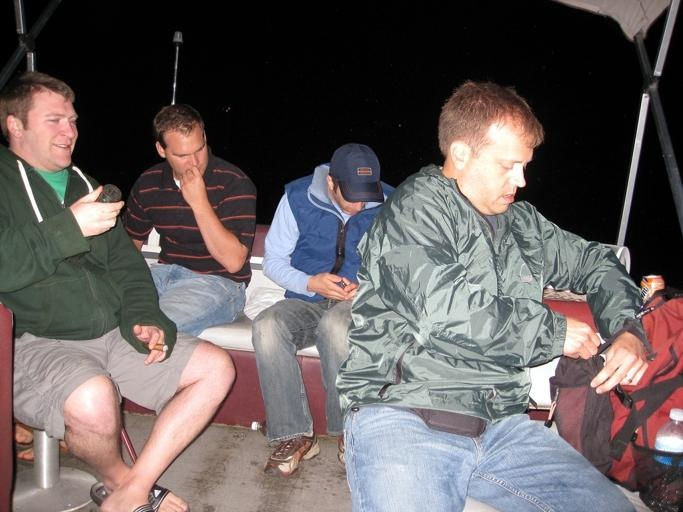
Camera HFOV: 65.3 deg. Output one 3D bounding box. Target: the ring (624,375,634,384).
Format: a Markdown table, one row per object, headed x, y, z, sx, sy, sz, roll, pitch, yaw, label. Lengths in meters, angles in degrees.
| x | y | z | sx | sy | sz | roll | pitch | yaw | label |
| --- | --- | --- | --- | --- | --- | --- | --- | --- | --- |
| 0.869 | 0.375 | 1.630 | 0.019 | 0.025 | 0.011 | -1 | 5 | 38 | ring |

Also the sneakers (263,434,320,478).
| x | y | z | sx | sy | sz | roll | pitch | yaw | label |
| --- | --- | --- | --- | --- | --- | --- | --- | --- | --- |
| -0.220 | 0.911 | 2.480 | 0.117 | 0.135 | 0.288 | 7 | 2 | 36 | sneakers |

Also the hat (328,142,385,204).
| x | y | z | sx | sy | sz | roll | pitch | yaw | label |
| --- | --- | --- | --- | --- | --- | --- | --- | --- | --- |
| 0.073 | -0.428 | 2.610 | 0.216 | 0.168 | 0.326 | -8 | 44 | -20 | hat |
